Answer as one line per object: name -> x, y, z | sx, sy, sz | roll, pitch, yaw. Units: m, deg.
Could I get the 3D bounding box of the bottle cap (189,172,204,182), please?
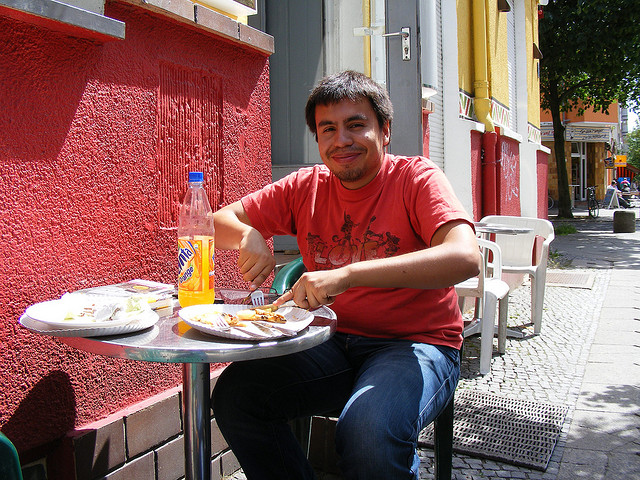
bottle cap -> -0.533, -0.266, 2.091 | 0.040, 0.030, 0.043 | 0, 7, 6

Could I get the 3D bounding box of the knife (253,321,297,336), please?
knife -> -0.153, 0.297, 1.637 | 0.098, 0.016, 0.007 | 21, 6, 27

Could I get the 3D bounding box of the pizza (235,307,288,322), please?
pizza -> -0.203, 0.267, 1.736 | 0.106, 0.021, 0.077 | 8, 10, 27

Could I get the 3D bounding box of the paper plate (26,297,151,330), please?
paper plate -> -0.868, 0.191, 1.781 | 0.400, 0.142, 0.229 | 2, 7, -5

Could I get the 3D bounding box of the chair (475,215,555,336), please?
chair -> 2.424, 0.439, 6.258 | 0.892, 1.341, 0.883 | 2, 6, 16

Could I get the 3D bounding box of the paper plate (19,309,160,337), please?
paper plate -> -0.814, 0.291, 1.665 | 0.483, 0.060, 0.189 | -1, 6, -4
